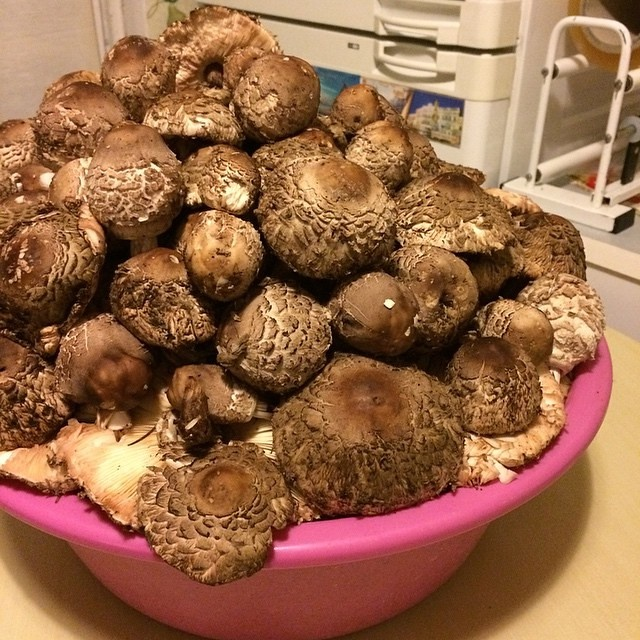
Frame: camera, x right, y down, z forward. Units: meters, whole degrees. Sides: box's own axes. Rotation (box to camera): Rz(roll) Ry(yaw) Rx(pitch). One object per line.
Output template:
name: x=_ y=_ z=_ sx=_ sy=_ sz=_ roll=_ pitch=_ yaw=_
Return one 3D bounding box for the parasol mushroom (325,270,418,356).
parasol mushroom: x=0.078 y=-0.010 z=0.978 sx=0.142 sy=0.104 sz=0.080 roll=9 pitch=17 yaw=-9

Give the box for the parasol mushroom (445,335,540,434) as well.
parasol mushroom: x=0.275 y=0.112 z=1.079 sx=0.158 sy=0.068 sz=0.140 roll=-7 pitch=75 yaw=-3

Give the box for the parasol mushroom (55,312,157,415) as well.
parasol mushroom: x=-0.341 y=0.066 z=1.058 sx=0.131 sy=0.112 sz=0.149 roll=6 pitch=18 yaw=-28

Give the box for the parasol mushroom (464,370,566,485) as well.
parasol mushroom: x=0.311 y=0.184 z=1.070 sx=0.148 sy=0.051 sz=0.180 roll=27 pitch=50 yaw=36

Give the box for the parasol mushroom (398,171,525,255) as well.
parasol mushroom: x=0.226 y=-0.176 z=1.198 sx=0.182 sy=0.068 sz=0.163 roll=1 pitch=44 yaw=-5

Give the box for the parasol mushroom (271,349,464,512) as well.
parasol mushroom: x=0.068 y=0.168 z=0.981 sx=0.279 sy=0.147 sz=0.211 roll=4 pitch=44 yaw=7

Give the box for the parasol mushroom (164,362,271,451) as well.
parasol mushroom: x=-0.177 y=0.116 z=1.004 sx=0.150 sy=0.064 sz=0.174 roll=18 pitch=5 yaw=-16

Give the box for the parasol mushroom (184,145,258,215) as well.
parasol mushroom: x=-0.145 y=-0.209 z=1.067 sx=0.120 sy=0.044 sz=0.116 roll=-11 pitch=68 yaw=7

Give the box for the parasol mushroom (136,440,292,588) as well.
parasol mushroom: x=-0.139 y=0.249 z=0.909 sx=0.201 sy=0.085 sz=0.208 roll=-18 pitch=45 yaw=-16

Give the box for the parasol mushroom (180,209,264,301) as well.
parasol mushroom: x=-0.148 y=-0.089 z=0.994 sx=0.125 sy=0.082 sz=0.129 roll=-10 pitch=65 yaw=-16

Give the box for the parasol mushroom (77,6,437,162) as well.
parasol mushroom: x=-0.123 y=-0.439 z=1.256 sx=0.490 sy=0.219 sz=0.319 roll=11 pitch=45 yaw=14

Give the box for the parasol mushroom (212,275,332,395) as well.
parasol mushroom: x=-0.070 y=0.008 z=0.979 sx=0.174 sy=0.065 sz=0.163 roll=-18 pitch=64 yaw=2

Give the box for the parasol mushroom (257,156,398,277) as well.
parasol mushroom: x=0.009 y=-0.159 z=1.009 sx=0.206 sy=0.138 sz=0.179 roll=5 pitch=44 yaw=8

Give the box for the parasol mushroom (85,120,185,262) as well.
parasol mushroom: x=-0.273 y=-0.208 z=1.020 sx=0.130 sy=0.134 sz=0.155 roll=13 pitch=46 yaw=16

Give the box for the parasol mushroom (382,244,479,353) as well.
parasol mushroom: x=0.191 y=-0.034 z=1.148 sx=0.167 sy=0.160 sz=0.152 roll=-1 pitch=82 yaw=-27

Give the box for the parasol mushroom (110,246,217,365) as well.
parasol mushroom: x=-0.232 y=-0.023 z=1.029 sx=0.135 sy=0.080 sz=0.163 roll=-40 pitch=94 yaw=4
